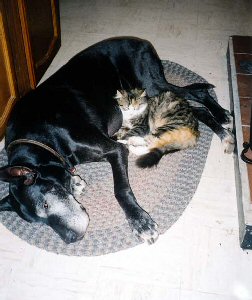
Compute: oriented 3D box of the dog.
[{"bbox_3d":[-0.204,-0.080,1.733,0.807,0.417,1.174,-1,53,2],"label":"dog"}]
